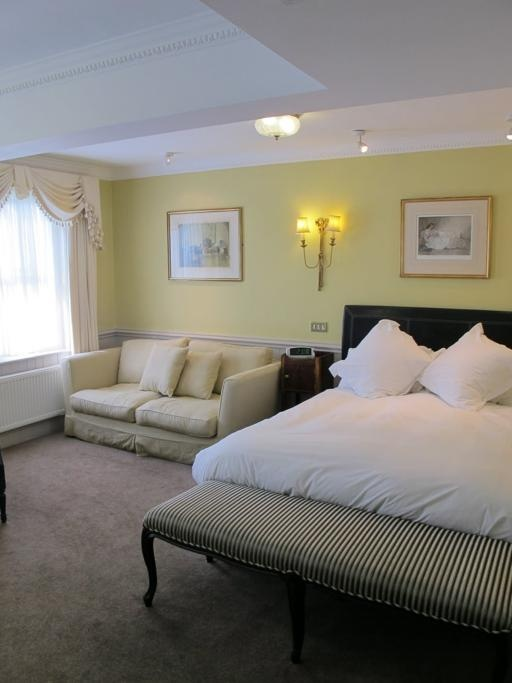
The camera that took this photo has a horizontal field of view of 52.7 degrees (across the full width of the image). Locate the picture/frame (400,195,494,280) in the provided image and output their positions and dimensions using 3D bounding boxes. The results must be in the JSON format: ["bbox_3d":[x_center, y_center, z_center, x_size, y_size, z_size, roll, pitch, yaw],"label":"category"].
[{"bbox_3d":[1.510,-0.821,3.973,0.683,0.599,0.049,4,7,29],"label":"picture/frame"}]

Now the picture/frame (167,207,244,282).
[{"bbox_3d":[-0.473,-0.979,5.096,0.797,0.619,0.035,3,9,29],"label":"picture/frame"}]

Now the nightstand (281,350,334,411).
[{"bbox_3d":[0.430,0.298,4.243,0.374,0.653,0.415,8,19,23],"label":"nightstand"}]

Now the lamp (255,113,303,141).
[{"bbox_3d":[0.128,-1.373,3.214,0.239,0.141,0.308,2,6,19],"label":"lamp"}]

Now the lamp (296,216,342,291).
[{"bbox_3d":[0.538,-0.778,4.527,0.426,0.651,0.128,6,9,41],"label":"lamp"}]
